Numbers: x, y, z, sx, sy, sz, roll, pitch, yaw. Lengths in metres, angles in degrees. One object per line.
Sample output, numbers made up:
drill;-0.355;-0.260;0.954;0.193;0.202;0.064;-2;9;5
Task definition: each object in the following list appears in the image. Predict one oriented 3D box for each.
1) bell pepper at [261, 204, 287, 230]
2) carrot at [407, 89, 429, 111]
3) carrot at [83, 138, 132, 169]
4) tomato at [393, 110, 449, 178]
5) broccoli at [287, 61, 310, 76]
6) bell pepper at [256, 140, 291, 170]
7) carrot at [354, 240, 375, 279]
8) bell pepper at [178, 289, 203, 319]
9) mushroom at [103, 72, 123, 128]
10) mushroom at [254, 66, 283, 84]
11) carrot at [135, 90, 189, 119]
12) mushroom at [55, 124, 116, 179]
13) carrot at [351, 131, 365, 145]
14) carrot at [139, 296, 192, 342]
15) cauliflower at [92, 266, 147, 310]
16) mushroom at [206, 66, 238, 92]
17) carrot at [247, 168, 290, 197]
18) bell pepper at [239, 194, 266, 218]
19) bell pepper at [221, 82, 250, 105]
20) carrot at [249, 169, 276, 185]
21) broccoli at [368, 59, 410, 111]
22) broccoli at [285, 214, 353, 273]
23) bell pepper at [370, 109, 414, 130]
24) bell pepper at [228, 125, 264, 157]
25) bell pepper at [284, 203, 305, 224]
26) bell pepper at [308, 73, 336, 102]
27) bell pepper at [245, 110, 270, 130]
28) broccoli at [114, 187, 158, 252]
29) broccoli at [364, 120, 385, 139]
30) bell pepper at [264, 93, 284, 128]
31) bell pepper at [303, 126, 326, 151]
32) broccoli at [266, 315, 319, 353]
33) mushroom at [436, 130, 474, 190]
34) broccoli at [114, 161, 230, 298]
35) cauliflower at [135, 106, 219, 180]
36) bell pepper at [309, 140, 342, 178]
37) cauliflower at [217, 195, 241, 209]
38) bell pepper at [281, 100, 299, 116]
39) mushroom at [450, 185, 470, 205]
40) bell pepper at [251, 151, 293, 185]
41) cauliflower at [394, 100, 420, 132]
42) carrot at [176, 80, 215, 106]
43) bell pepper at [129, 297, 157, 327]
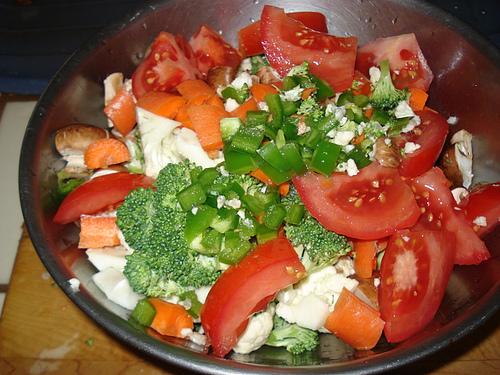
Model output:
bell pepper;0.100;0.119;1.821;0.079;0.046;0.097;33;68;8
carrot;0.798;-0.411;2.061;0.099;0.024;0.094;13;97;-3
carrot;-0.671;-0.156;2.027;0.202;0.046;0.133;-8;89;-19
tomato;0.779;-0.188;2.004;0.241;0.121;0.282;19;80;12
broccoli;0.217;-0.516;1.934;0.074;0.022;0.075;-16;46;-10
bell pepper;0.104;-0.128;1.770;0.094;0.043;0.137;-38;76;-19
carrot;0.494;0.301;1.893;0.034;0.110;0.146;-11;100;-43
bell pepper;-0.245;0.484;1.845;0.047;0.088;0.125;-13;61;-14
mushroom;-0.665;-0.451;2.182;0.124;0.046;0.209;11;93;37
mushroom;0.095;-0.558;2.188;0.121;0.035;0.124;-16;61;-29
carrot;-0.406;-0.385;1.984;0.158;0.063;0.144;4;52;5
mushroom;-0.791;-0.171;2.120;0.227;0.223;0.221;-6;90;-14
carrot;0.459;-0.205;1.866;0.029;0.045;0.046;45;63;2
carrot;-0.359;0.496;1.836;0.233;0.136;0.105;1;94;-11
cauliflower;-0.553;0.411;1.816;0.210;0.039;0.132;41;40;10
mushroom;-0.138;-0.561;2.182;0.144;0.056;0.120;-39;69;-11
carrot;0.079;-0.042;1.862;0.164;0.093;0.035;29;48;-5
bell pepper;0.012;0.073;1.821;0.105;0.028;0.070;34;109;-1
bell pepper;-0.057;-0.440;2.060;0.104;0.042;0.107;0;57;-14
carrot;0.055;-0.039;1.842;0.106;0.053;0.031;29;59;-13
broccoli;0.619;-0.444;1.993;0.204;0.215;0.252;6;93;22
broccoli;0.275;0.230;1.839;0.252;0.099;0.258;-17;80;0
bell pepper;0.620;-0.297;1.947;0.133;0.042;0.100;-2;60;7
bell pepper;-0.015;-0.195;1.793;0.122;0.041;0.121;17;66;1
bell pepper;0.189;0.107;1.838;0.052;0.044;0.074;32;75;3
bell pepper;0.319;-0.428;1.954;0.120;0.036;0.141;13;48;-38
bell pepper;0.028;-0.285;1.828;0.081;0.073;0.082;2;24;6
broccoli;-0.455;0.127;1.776;0.216;0.064;0.220;42;48;-38
broccoli;0.531;-0.236;1.866;0.077;0.031;0.077;45;63;1
bell pepper;0.107;-0.328;1.878;0.075;0.037;0.139;-18;78;19
bell pepper;0.266;-0.197;1.795;0.058;0.055;0.099;34;84;-3
broccoli;0.185;0.644;1.904;0.161;0.070;0.126;18;56;33
mushroom;0.966;-0.140;2.089;0.198;0.085;0.263;2;96;-3
broccoli;-0.356;0.201;1.824;0.390;0.275;0.511;-19;71;-13
cauliflower;-0.325;-0.211;1.949;0.338;0.120;0.345;-7;107;20
bell pepper;0.309;-0.120;1.798;0.106;0.082;0.132;23;67;4
cauliflower;-0.085;0.059;1.794;0.097;0.031;0.053;0;67;-6
bell pepper;0.167;-0.336;1.859;0.066;0.049;0.069;6;99;4
mushroom;0.968;0.024;2.019;0.079;0.037;0.104;9;74;-13
bell pepper;0.088;-0.072;1.788;0.164;0.094;0.040;46;36;-16
cauliflower;0.688;-0.310;1.995;0.120;0.040;0.121;39;36;-12
carrot;-0.253;-0.439;2.016;0.140;0.043;0.157;-23;57;-12
bell pepper;-0.415;0.501;1.800;0.134;0.070;0.121;27;65;-44
